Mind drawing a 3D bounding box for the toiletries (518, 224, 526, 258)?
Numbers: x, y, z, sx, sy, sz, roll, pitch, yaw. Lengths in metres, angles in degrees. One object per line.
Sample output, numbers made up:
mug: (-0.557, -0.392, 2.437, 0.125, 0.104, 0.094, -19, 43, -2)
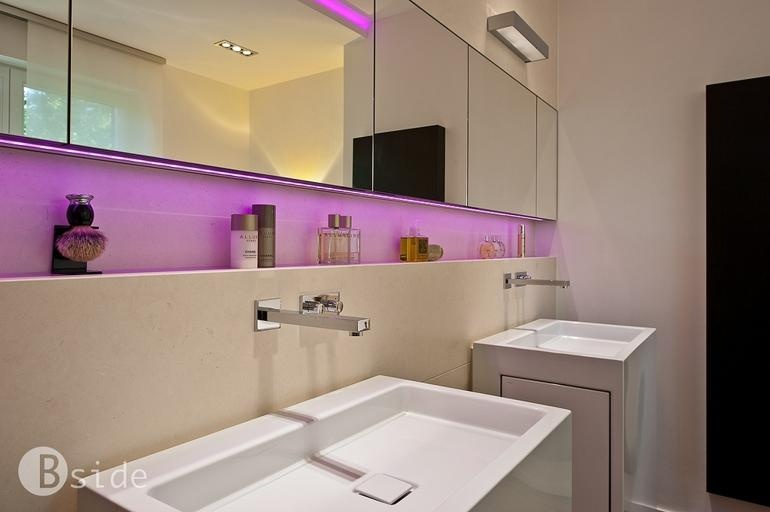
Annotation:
toiletries: (0.688, -0.078, 2.667, 0.028, 0.164, 0.073, -2, 1, 6)

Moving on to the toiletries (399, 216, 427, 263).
toiletries: (0.110, -0.043, 1.981, 0.071, 0.132, 0.093, -1, 0, 31)

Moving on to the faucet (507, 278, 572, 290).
faucet: (0.719, 0.134, 2.493, 0.082, 0.086, 0.350, -1, 1, -31)

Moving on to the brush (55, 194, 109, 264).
brush: (-0.717, -0.063, 1.241, 0.097, 0.170, 0.051, -2, 1, 8)

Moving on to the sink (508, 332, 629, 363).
sink: (0.837, 0.379, 2.347, 0.374, 0.101, 0.580, -2, 1, 31)

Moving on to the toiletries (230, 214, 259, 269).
toiletries: (-0.389, -0.039, 1.452, 0.073, 0.129, 0.042, -2, 1, -16)
